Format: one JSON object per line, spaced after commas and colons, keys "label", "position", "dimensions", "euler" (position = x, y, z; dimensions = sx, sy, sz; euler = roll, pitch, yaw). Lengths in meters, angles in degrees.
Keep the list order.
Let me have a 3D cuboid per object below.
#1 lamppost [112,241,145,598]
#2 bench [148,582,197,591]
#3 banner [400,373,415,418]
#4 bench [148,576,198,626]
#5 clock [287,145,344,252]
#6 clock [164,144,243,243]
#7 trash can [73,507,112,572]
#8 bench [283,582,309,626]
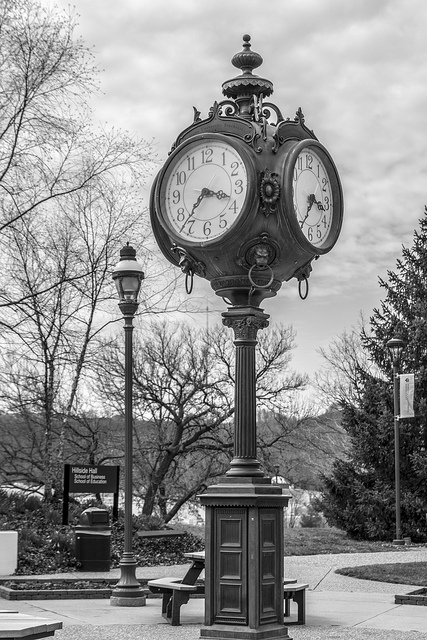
{"label": "lamppost", "position": [-1.045, 1.274, 19.244], "dimensions": [0.567, 4.613, 0.593], "euler": [-7, -16, 20]}
{"label": "bench", "position": [-0.414, 2.949, 16.883], "dimensions": [0.328, 0.109, 0.591], "euler": [10, -16, -44]}
{"label": "banner", "position": [3.739, 1.484, 29.783], "dimensions": [0.300, 0.810, 0.078], "euler": [-1, -1, 19]}
{"label": "bench", "position": [-0.447, 3.121, 16.921], "dimensions": [0.489, 0.537, 1.025], "euler": [1, -12, -13]}
{"label": "clock", "position": [1.059, -1.243, 15.893], "dimensions": [0.277, 1.079, 1.034], "euler": [-5, -11, 22]}
{"label": "clock", "position": [-0.111, -1.300, 15.673], "dimensions": [0.918, 0.989, 0.105], "euler": [-7, -11, 28]}
{"label": "trash can", "position": [-1.755, 3.224, 22.433], "dimensions": [0.394, 0.935, 0.470], "euler": [-3, -6, 30]}
{"label": "bench", "position": [0.849, 3.161, 16.891], "dimensions": [0.350, 0.453, 0.704], "euler": [-2, -8, -5]}
